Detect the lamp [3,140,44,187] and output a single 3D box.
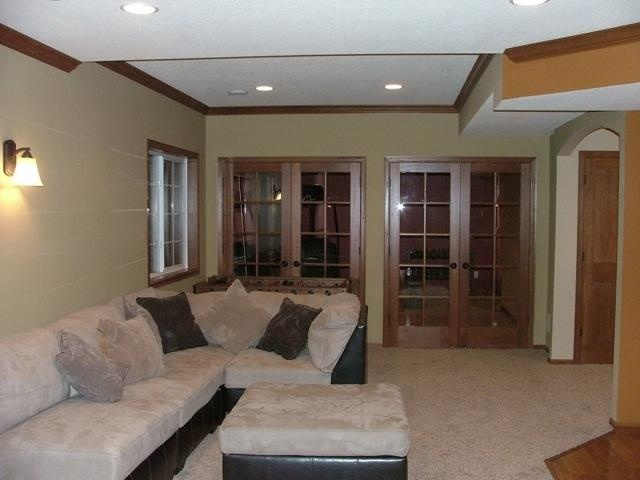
[{"bbox_3d":[-2.055,-0.534,3.522,0.196,0.310,0.118,1,9,2],"label":"lamp"}]
